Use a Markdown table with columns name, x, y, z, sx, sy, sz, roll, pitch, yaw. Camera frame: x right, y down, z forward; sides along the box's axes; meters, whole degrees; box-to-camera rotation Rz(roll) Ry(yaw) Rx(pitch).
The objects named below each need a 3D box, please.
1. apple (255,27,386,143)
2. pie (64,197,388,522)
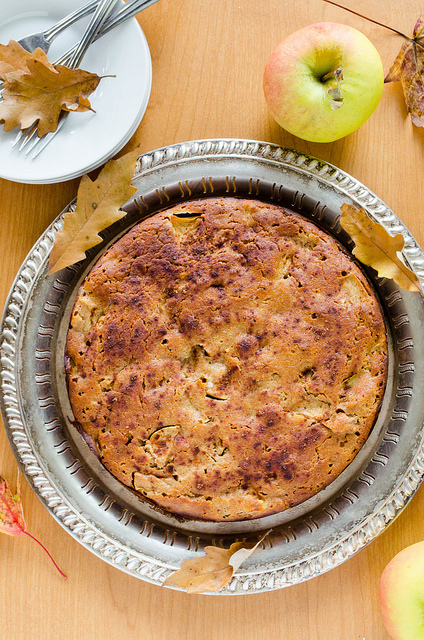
| name | x | y | z | sx | sy | sz | roll | pitch | yaw |
| --- | --- | --- | --- | --- | --- | --- | --- | --- | --- |
| apple | 0.238 | -0.524 | 1.472 | 0.245 | 0.146 | 0.213 | 13 | 83 | 4 |
| pie | 0.056 | 0.087 | 1.527 | 0.733 | 0.156 | 0.707 | -40 | 72 | 11 |
